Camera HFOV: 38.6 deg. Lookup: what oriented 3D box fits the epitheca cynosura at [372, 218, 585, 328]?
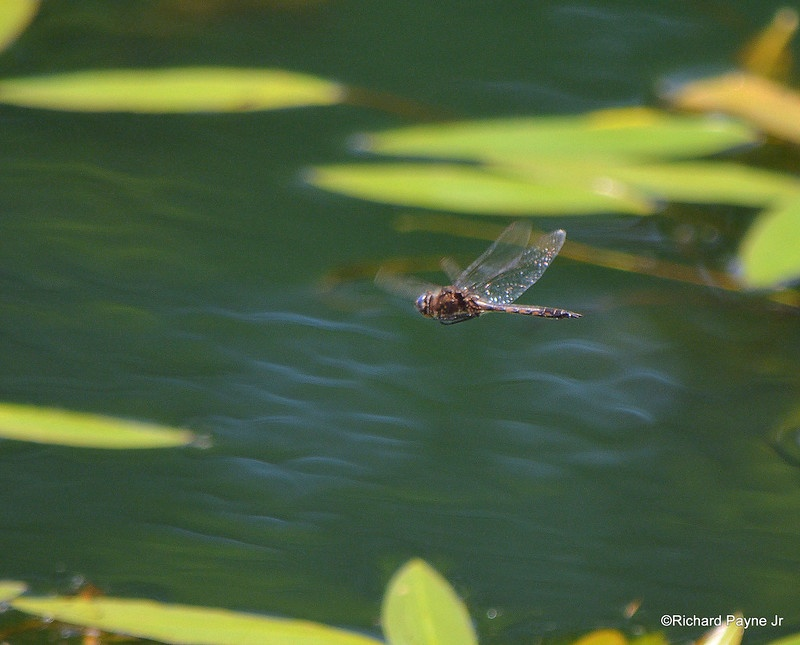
[{"bbox_3d":[0.199,-0.111,2.665,0.423,0.287,0.106,2,75,1],"label":"epitheca cynosura"}]
